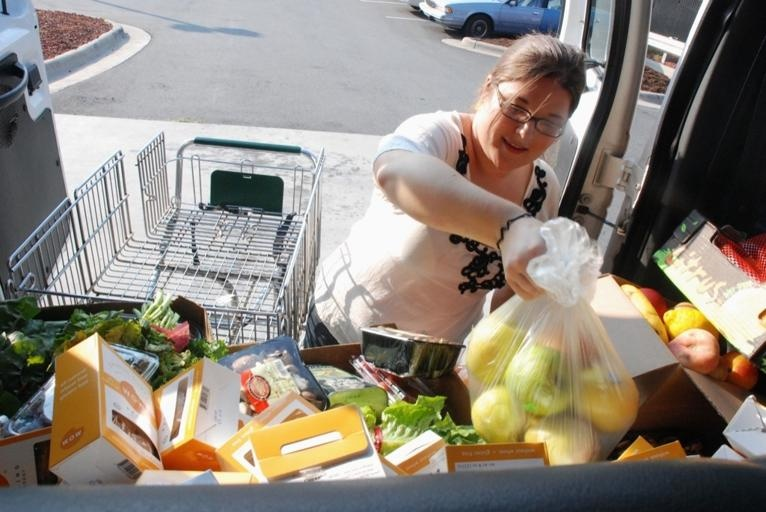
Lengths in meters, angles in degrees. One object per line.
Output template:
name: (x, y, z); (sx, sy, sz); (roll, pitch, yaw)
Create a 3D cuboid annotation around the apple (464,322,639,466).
apple: (0.444, 0.347, 1.517); (0.425, 0.445, 0.361); (35, -2, -33)

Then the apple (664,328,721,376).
apple: (1.158, 0.367, 1.846); (0.160, 0.163, 0.172); (-7, 39, 39)

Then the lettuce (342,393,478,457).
lettuce: (0.129, 0.485, 1.561); (0.314, 0.103, 0.257); (0, -6, -15)

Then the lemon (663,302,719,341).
lemon: (1.165, 0.243, 1.921); (0.168, 0.149, 0.138); (8, 41, 15)

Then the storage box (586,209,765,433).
storage box: (1.103, 0.212, 1.764); (0.557, 0.305, 0.525); (-11, 36, -26)

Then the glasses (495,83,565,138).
glasses: (0.506, -0.487, 1.738); (0.201, 0.195, 0.156); (0, -5, 7)
